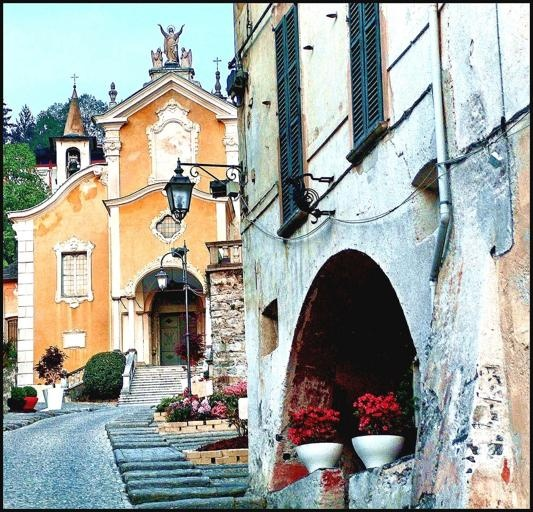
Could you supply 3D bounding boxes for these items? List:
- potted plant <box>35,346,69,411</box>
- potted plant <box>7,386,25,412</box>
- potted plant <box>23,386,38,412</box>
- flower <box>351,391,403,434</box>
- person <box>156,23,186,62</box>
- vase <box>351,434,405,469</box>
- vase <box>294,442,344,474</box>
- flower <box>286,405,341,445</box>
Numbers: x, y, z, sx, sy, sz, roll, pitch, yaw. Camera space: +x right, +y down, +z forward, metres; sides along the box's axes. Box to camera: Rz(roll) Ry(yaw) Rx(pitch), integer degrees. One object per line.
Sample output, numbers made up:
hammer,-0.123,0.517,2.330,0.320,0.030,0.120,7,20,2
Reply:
potted plant,-6.976,4.002,33.871,1.211,2.603,1.127,3,-12,-26
potted plant,-6.773,3.890,28.344,0.458,0.670,0.520,2,-16,-6
potted plant,-6.681,3.974,28.879,0.491,0.704,0.556,1,-4,4
flower,0.891,1.212,8.424,0.382,0.452,0.334,2,-18,-9
person,-4.950,-11.015,53.888,1.306,0.551,2.237,-2,-49,-9
vase,0.861,1.514,8.159,0.277,0.197,0.290,-8,-17,35
vase,0.467,1.773,9.257,0.407,0.263,0.429,-1,-13,4
flower,0.444,1.577,9.644,0.438,0.501,0.427,1,-11,-9
